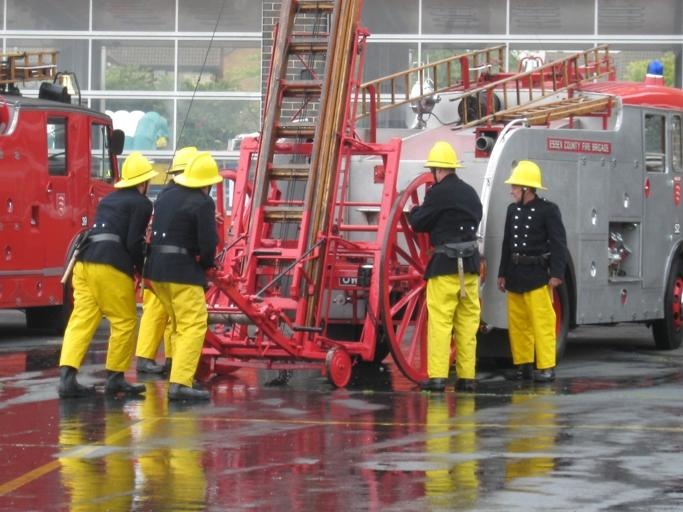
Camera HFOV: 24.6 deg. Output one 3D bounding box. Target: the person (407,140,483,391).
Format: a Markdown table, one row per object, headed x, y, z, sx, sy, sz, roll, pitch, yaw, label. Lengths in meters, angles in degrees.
| x | y | z | sx | sy | sz | roll | pitch | yaw | label |
| --- | --- | --- | --- | --- | --- | --- | --- | --- | --- |
| 1.078 | 0.108 | 16.164 | 0.740 | 2.532 | 0.452 | 0 | 1 | 4 | person |

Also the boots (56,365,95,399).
| x | y | z | sx | sy | sz | roll | pitch | yaw | label |
| --- | --- | --- | --- | --- | --- | --- | --- | --- | --- |
| -2.685 | 1.254 | 15.787 | 0.162 | 0.319 | 0.393 | 1 | 1 | 45 | boots |

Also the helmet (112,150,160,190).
| x | y | z | sx | sy | sz | roll | pitch | yaw | label |
| --- | --- | --- | --- | --- | --- | --- | --- | --- | --- |
| -2.091 | -0.926 | 16.099 | 0.480 | 0.218 | 0.387 | -14 | 19 | 16 | helmet |

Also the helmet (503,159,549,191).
| x | y | z | sx | sy | sz | roll | pitch | yaw | label |
| --- | --- | --- | --- | --- | --- | --- | --- | --- | --- |
| 1.969 | -0.886 | 16.717 | 0.394 | 0.188 | 0.346 | 7 | -4 | -10 | helmet |

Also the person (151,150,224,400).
| x | y | z | sx | sy | sz | roll | pitch | yaw | label |
| --- | --- | --- | --- | --- | --- | --- | --- | --- | --- |
| -1.605 | 0.200 | 15.693 | 0.731 | 2.479 | 0.437 | 0 | 1 | 1 | person |

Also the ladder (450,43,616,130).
| x | y | z | sx | sy | sz | roll | pitch | yaw | label |
| --- | --- | --- | --- | --- | --- | --- | --- | --- | --- |
| 2.572 | -1.974 | 18.824 | 3.137 | 0.815 | 0.870 | -17 | 21 | -40 | ladder |

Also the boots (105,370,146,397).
| x | y | z | sx | sy | sz | roll | pitch | yaw | label |
| --- | --- | --- | --- | --- | --- | --- | --- | --- | --- |
| -2.238 | 1.299 | 15.951 | 0.524 | 0.312 | 0.183 | -1 | 6 | -10 | boots |

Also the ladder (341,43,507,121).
| x | y | z | sx | sy | sz | roll | pitch | yaw | label |
| --- | --- | --- | --- | --- | --- | --- | --- | --- | --- |
| 1.404 | -2.399 | 21.664 | 1.461 | 0.512 | 2.760 | 7 | 23 | 42 | ladder |

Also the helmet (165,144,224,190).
| x | y | z | sx | sy | sz | roll | pitch | yaw | label |
| --- | --- | --- | --- | --- | --- | --- | --- | --- | --- |
| -1.405 | -0.899 | 15.813 | 0.464 | 0.228 | 0.508 | 12 | 19 | 35 | helmet |

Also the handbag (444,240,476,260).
| x | y | z | sx | sy | sz | roll | pitch | yaw | label |
| --- | --- | --- | --- | --- | --- | --- | --- | --- | --- |
| 1.252 | -0.082 | 16.086 | 0.394 | 0.177 | 0.139 | -1 | 1 | -37 | handbag |

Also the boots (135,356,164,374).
| x | y | z | sx | sy | sz | roll | pitch | yaw | label |
| --- | --- | --- | --- | --- | --- | --- | --- | --- | --- |
| -2.123 | 1.205 | 17.226 | 0.369 | 0.221 | 0.137 | -1 | -1 | -4 | boots |

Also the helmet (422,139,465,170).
| x | y | z | sx | sy | sz | roll | pitch | yaw | label |
| --- | --- | --- | --- | --- | --- | --- | --- | --- | --- |
| 1.025 | -1.049 | 16.341 | 0.327 | 0.204 | 0.373 | -7 | 8 | -39 | helmet |

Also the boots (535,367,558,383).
| x | y | z | sx | sy | sz | roll | pitch | yaw | label |
| --- | --- | --- | --- | --- | --- | --- | --- | --- | --- |
| 2.164 | 1.259 | 16.756 | 0.220 | 0.152 | 0.204 | 0 | 1 | 16 | boots |

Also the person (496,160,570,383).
| x | y | z | sx | sy | sz | roll | pitch | yaw | label |
| --- | --- | --- | --- | --- | --- | --- | --- | --- | --- |
| 2.036 | 0.269 | 16.780 | 0.709 | 2.089 | 0.334 | 0 | 1 | 4 | person |
